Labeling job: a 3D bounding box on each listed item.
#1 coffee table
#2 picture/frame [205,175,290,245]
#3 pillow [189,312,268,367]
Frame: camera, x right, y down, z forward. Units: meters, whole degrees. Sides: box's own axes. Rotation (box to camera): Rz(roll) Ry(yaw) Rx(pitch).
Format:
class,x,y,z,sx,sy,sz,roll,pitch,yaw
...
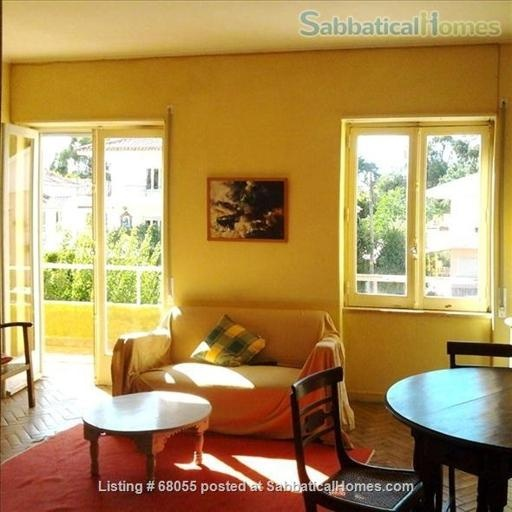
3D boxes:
class,x,y,z,sx,sy,sz,roll,pitch,yaw
coffee table,-0.682,1.155,3.253,0.776,0.406,0.719,2,4,30
picture/frame,-0.045,-0.424,4.610,0.584,0.489,0.024,1,2,9
pillow,-0.210,0.726,4.173,0.389,0.380,0.119,32,-22,41
